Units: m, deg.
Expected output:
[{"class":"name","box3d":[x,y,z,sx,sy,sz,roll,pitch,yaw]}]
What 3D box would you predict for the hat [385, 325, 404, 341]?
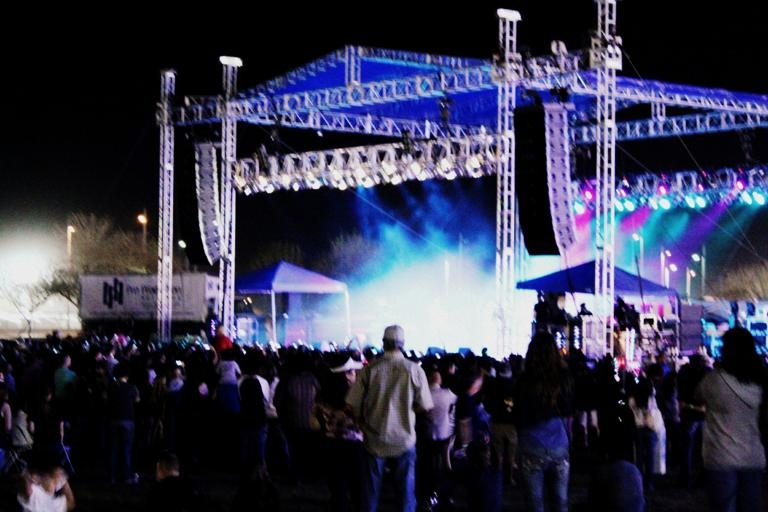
[{"class":"hat","box3d":[0.206,1.550,20.144,0.378,0.339,0.385,-1,-5,4]}]
